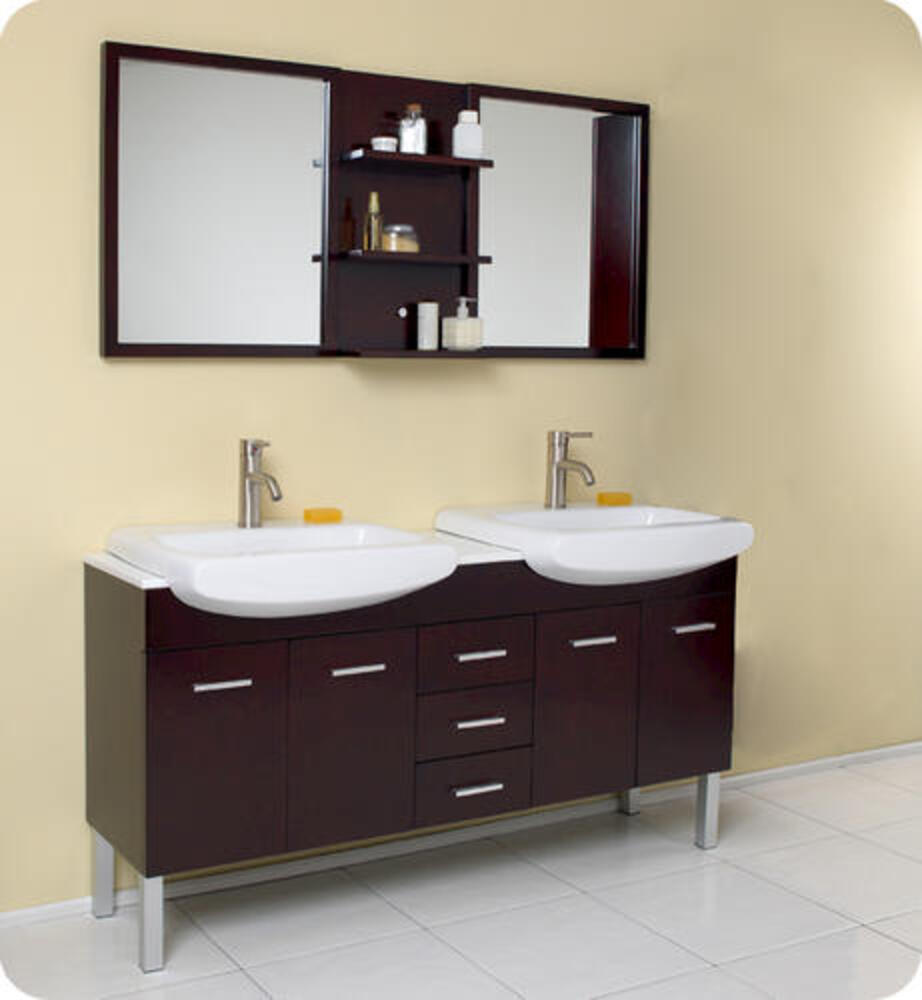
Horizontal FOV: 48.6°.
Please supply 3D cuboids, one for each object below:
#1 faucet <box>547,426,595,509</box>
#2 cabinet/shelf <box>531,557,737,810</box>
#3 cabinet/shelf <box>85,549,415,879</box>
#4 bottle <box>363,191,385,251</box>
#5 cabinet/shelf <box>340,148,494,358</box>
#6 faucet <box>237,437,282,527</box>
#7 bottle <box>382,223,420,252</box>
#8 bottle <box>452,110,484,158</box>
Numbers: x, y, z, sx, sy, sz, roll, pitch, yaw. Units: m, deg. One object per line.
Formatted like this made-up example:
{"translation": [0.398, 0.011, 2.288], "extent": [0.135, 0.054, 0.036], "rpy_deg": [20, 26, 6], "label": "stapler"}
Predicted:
{"translation": [0.274, -0.073, 2.599], "extent": [0.062, 0.191, 0.187], "rpy_deg": [-1, 4, -35], "label": "faucet"}
{"translation": [0.494, 0.492, 2.507], "extent": [0.558, 0.503, 0.288], "rpy_deg": [-16, -32, 36], "label": "cabinet/shelf"}
{"translation": [-0.396, 0.364, 2.257], "extent": [0.611, 0.791, 0.560], "rpy_deg": [-2, 4, -31], "label": "cabinet/shelf"}
{"translation": [-0.204, -0.639, 2.345], "extent": [0.047, 0.159, 0.121], "rpy_deg": [1, 3, -5], "label": "bottle"}
{"translation": [-0.147, -0.571, 2.405], "extent": [0.356, 0.456, 0.107], "rpy_deg": [-4, 8, -21], "label": "cabinet/shelf"}
{"translation": [-0.433, -0.033, 2.199], "extent": [0.094, 0.193, 0.315], "rpy_deg": [1, 3, -12], "label": "faucet"}
{"translation": [-0.137, -0.602, 2.386], "extent": [0.080, 0.054, 0.079], "rpy_deg": [1, 6, 0], "label": "bottle"}
{"translation": [0.014, -0.875, 2.450], "extent": [0.077, 0.140, 0.124], "rpy_deg": [1, 3, 1], "label": "bottle"}
